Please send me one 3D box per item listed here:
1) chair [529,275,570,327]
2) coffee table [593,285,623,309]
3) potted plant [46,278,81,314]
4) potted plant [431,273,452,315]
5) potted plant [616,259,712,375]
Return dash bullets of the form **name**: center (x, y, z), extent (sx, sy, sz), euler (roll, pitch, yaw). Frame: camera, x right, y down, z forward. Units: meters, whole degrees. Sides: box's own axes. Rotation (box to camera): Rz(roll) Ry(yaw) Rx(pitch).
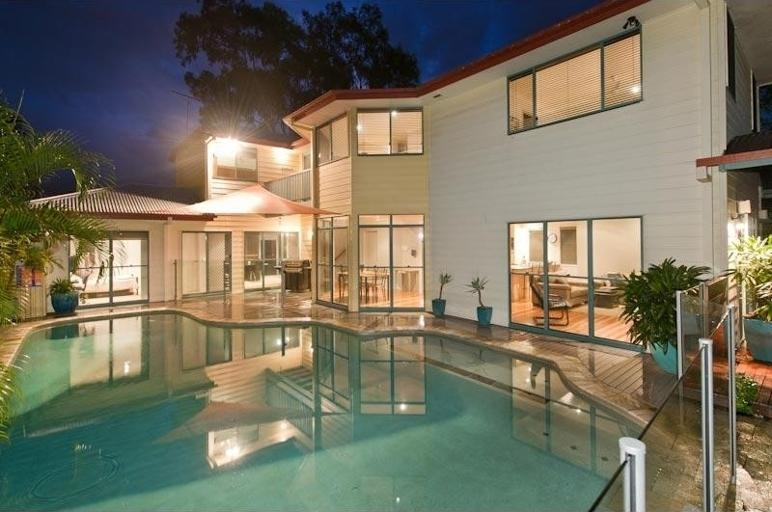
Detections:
- **chair**: center (4.640, 1.209, 14.605), extent (1.254, 1.658, 1.210), euler (1, 1, 18)
- **coffee table**: center (5.511, 1.074, 12.772), extent (0.664, 0.414, 0.664), euler (3, 8, 37)
- **potted plant**: center (-10.890, 1.357, 17.378), extent (1.042, 1.250, 1.045), euler (1, 0, 39)
- **potted plant**: center (1.719, 1.211, 16.137), extent (0.584, 1.349, 0.701), euler (7, 14, 36)
- **potted plant**: center (6.012, 1.255, 11.630), extent (2.632, 2.725, 2.268), euler (-1, 1, 15)
